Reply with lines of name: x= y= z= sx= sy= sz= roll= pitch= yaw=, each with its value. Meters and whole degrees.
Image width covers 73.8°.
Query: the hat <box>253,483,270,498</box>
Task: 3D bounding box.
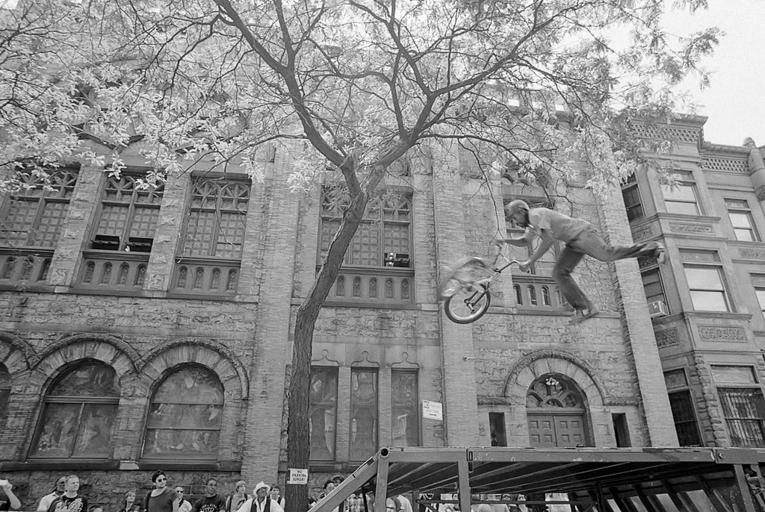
hat: x=-3.435 y=6.655 z=14.498 sx=0.367 sy=0.354 sz=0.518 roll=8 pitch=-26 yaw=-13
